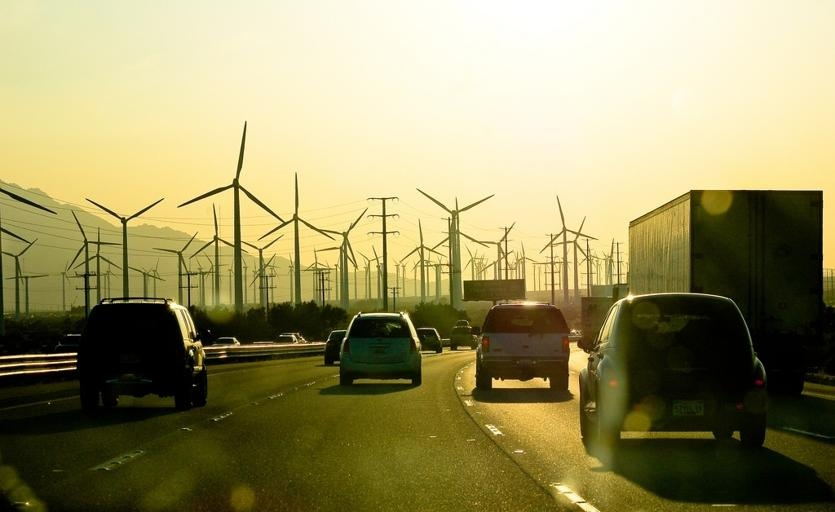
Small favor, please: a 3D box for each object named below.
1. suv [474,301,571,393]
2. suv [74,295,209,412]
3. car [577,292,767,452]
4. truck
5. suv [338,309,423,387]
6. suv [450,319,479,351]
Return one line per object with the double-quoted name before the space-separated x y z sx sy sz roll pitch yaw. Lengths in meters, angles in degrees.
"suv" 3.149 2.644 25.042 1.866 1.518 3.274 1 1 2
"suv" -7.182 2.536 21.715 3.117 3.022 1.593 0 -7 -23
"car" 5.258 1.919 17.705 3.528 2.927 6.263 0 6 11
"truck" 7.635 0.880 20.120 2.015 2.989 6.199 -1 -1 3
"suv" -1.257 3.015 27.710 2.612 2.246 1.004 -2 -6 -10
"suv" 4.555 8.517 85.958 3.059 2.944 6.300 0 3 8
